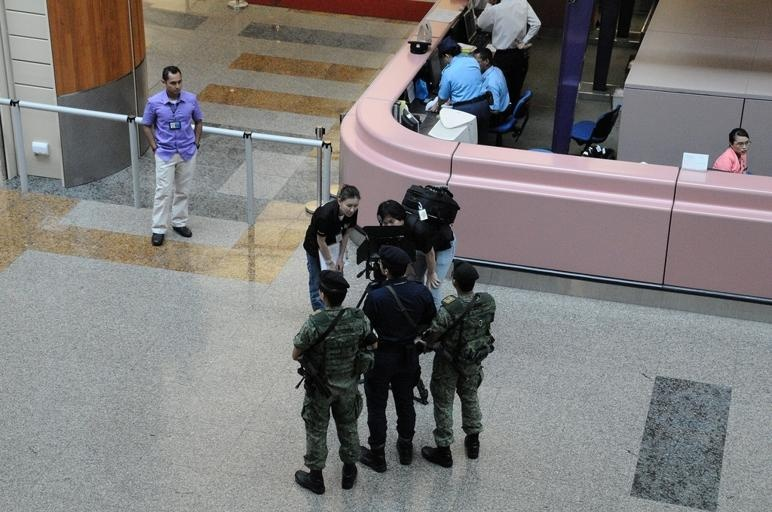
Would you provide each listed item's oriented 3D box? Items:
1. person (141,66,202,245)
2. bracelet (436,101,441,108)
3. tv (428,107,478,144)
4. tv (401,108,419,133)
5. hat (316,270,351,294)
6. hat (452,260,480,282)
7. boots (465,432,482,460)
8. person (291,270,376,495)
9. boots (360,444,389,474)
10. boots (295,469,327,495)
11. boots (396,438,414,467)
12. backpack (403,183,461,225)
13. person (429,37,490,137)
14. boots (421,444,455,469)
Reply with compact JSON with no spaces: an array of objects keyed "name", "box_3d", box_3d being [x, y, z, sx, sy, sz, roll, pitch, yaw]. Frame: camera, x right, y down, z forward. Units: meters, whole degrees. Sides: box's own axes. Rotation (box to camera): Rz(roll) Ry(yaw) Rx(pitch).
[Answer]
[{"name":"person","box_3d":[-2.577,-1.222,8.823,0.677,2.142,0.416,-2,21,-23]},{"name":"bracelet","box_3d":[0.752,-2.196,10.343,0.079,0.075,0.107,2,9,8]},{"name":"tv","box_3d":[0.853,-1.649,9.226,0.515,0.387,0.754,13,22,15]},{"name":"tv","box_3d":[0.367,-1.898,9.888,0.217,0.306,0.556,9,21,8]},{"name":"hat","box_3d":[-0.419,0.195,5.847,0.215,0.186,0.188,4,21,-7]},{"name":"hat","box_3d":[0.672,0.124,6.100,0.195,0.160,0.187,5,21,-3]},{"name":"boots","box_3d":[0.789,1.735,6.590,0.120,0.247,0.259,-2,35,0]},{"name":"person","box_3d":[-0.460,1.046,6.199,0.661,1.938,0.676,-3,17,-14]},{"name":"boots","box_3d":[-0.103,1.832,6.459,0.101,0.205,0.213,-36,59,-29]},{"name":"boots","box_3d":[-0.649,1.980,6.287,0.206,0.146,0.085,30,54,14]},{"name":"boots","box_3d":[0.184,1.753,6.528,0.112,0.121,0.280,-1,54,-2]},{"name":"backpack","box_3d":[0.427,-0.467,6.923,0.394,0.309,0.421,15,7,-21]},{"name":"person","box_3d":[1.018,-2.359,10.131,0.654,1.639,0.914,-34,60,-18]},{"name":"boots","box_3d":[0.472,1.811,6.525,0.323,0.230,0.142,28,54,24]}]
